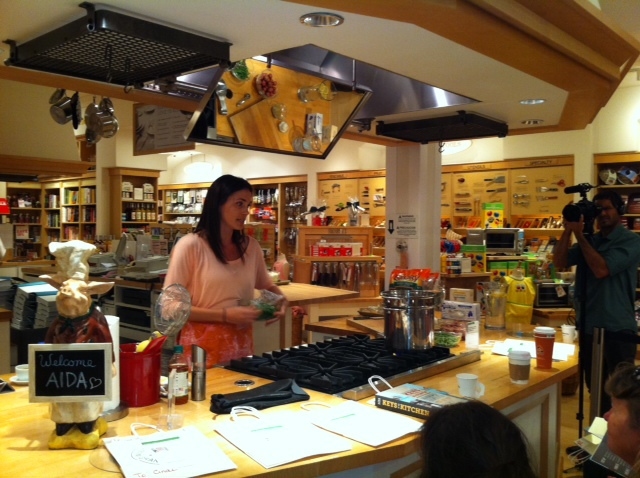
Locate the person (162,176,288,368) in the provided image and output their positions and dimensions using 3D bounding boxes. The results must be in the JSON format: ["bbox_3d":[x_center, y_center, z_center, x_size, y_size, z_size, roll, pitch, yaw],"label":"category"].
[{"bbox_3d":[-0.564,0.170,2.853,0.662,1.141,0.836,1,1,4],"label":"person"}]

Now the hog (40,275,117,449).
[{"bbox_3d":[-0.835,0.406,1.611,0.234,0.557,0.248,0,1,-22],"label":"hog"}]

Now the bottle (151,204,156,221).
[{"bbox_3d":[-3.829,-0.621,10.712,0.084,0.381,0.165,0,1,-28],"label":"bottle"}]

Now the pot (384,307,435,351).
[{"bbox_3d":[0.497,0.486,2.672,0.317,0.215,0.286,-2,5,-33],"label":"pot"}]

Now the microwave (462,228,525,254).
[{"bbox_3d":[2.449,0.020,6.392,0.816,0.292,0.441,1,-1,-18],"label":"microwave"}]

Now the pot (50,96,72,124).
[{"bbox_3d":[-2.615,-1.334,4.716,0.183,0.269,0.330,0,1,-27],"label":"pot"}]

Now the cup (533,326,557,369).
[{"bbox_3d":[1.259,0.601,2.606,0.098,0.209,0.189,1,1,24],"label":"cup"}]

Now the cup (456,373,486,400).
[{"bbox_3d":[0.692,0.652,2.088,0.101,0.100,0.139,-1,5,-37],"label":"cup"}]

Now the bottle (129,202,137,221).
[{"bbox_3d":[-4.207,-0.622,10.474,0.151,0.402,0.193,0,2,-30],"label":"bottle"}]

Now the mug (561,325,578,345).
[{"bbox_3d":[1.697,0.648,3.142,0.141,0.096,0.115,2,-3,32],"label":"mug"}]

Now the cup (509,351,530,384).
[{"bbox_3d":[1.005,0.641,2.285,0.148,0.118,0.119,4,-18,15],"label":"cup"}]
